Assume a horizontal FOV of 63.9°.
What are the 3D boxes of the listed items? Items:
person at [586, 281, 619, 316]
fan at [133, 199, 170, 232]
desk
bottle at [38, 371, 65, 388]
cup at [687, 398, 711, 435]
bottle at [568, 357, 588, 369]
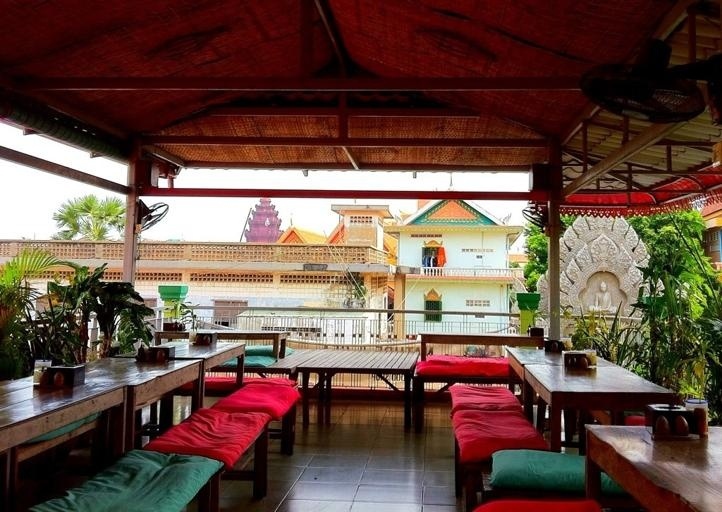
[{"bbox_3d":[5.873,1.025,14.068,0.826,0.747,0.461,1,1,28],"label":"person"},{"bbox_3d":[-2.802,-0.532,7.718,0.464,0.159,0.354,-8,-12,-31],"label":"fan"},{"bbox_3d":[0.012,1.499,6.442,0.991,0.442,0.839,0,-2,5],"label":"desk"},{"bbox_3d":[-1.971,0.788,3.709,0.185,0.121,0.098,-1,-12,-3],"label":"bottle"},{"bbox_3d":[1.831,0.876,3.140,0.141,0.182,0.110,6,6,15],"label":"cup"},{"bbox_3d":[1.725,0.852,4.620,0.119,0.052,0.114,0,-4,0],"label":"bottle"}]
